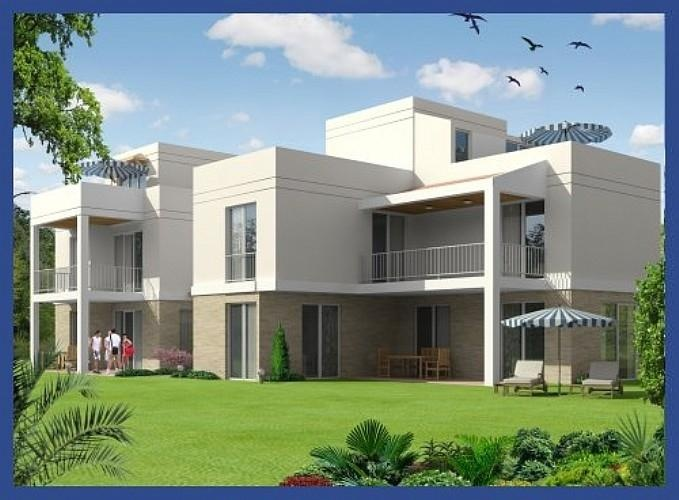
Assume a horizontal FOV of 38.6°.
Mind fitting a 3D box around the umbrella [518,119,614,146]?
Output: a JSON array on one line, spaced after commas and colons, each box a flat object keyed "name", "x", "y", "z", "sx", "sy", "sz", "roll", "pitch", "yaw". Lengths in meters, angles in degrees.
[{"name": "umbrella", "x": 8.286, "y": -4.180, "z": 34.997, "sx": 3.002, "sy": 0.771, "sz": 1.560, "roll": 2, "pitch": -2, "yaw": -17}]

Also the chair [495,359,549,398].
[{"name": "chair", "x": 5.081, "y": 3.534, "z": 26.785, "sx": 0.920, "sy": 0.904, "sz": 1.413, "roll": -4, "pitch": -9, "yaw": 29}]

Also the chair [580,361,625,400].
[{"name": "chair", "x": 7.267, "y": 3.675, "z": 26.826, "sx": 0.710, "sy": 0.686, "sz": 1.163, "roll": 7, "pitch": -17, "yaw": 1}]

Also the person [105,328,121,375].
[{"name": "person", "x": -8.930, "y": 3.970, "z": 38.271, "sx": 0.608, "sy": 1.067, "sz": 1.725, "roll": 2, "pitch": -2, "yaw": -13}]

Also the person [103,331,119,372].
[{"name": "person", "x": -8.929, "y": 3.897, "z": 38.157, "sx": 0.633, "sy": 1.765, "sz": 0.554, "roll": -5, "pitch": 16, "yaw": -29}]

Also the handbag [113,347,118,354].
[{"name": "handbag", "x": -8.734, "y": 3.896, "z": 37.793, "sx": 0.279, "sy": 0.300, "sz": 0.220, "roll": -2, "pitch": -2, "yaw": 26}]
